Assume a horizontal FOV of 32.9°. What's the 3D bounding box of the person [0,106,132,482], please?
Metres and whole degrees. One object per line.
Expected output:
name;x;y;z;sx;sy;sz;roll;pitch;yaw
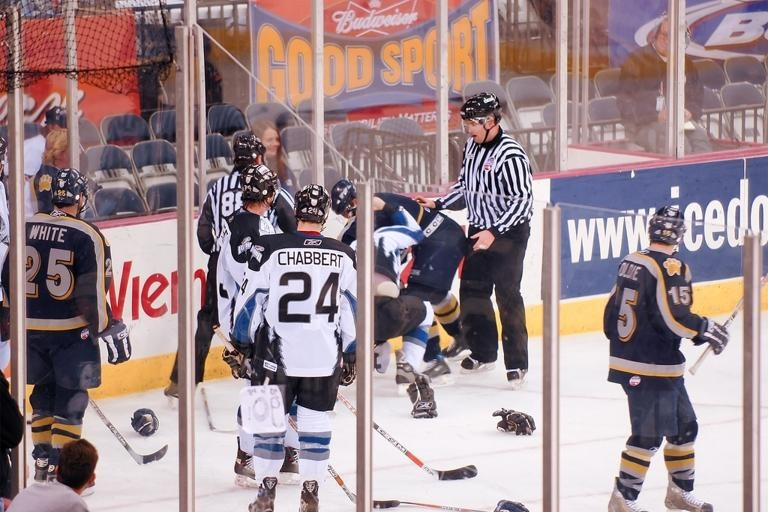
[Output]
person;-1.706;0.497;7.227;0.569;1.675;0.238;-3;1;-10

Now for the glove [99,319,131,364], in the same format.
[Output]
glove;-1.491;0.484;7.255;0.149;0.247;0.082;-7;10;-33

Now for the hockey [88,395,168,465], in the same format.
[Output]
hockey;-1.474;1.050;7.481;0.215;0.674;0.055;-32;-24;-34

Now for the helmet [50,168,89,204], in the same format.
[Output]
helmet;-1.732;-0.383;7.165;0.162;0.186;0.190;3;0;-9

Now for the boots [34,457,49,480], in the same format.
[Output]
boots;-1.913;1.194;7.270;0.051;0.154;0.061;3;4;-28

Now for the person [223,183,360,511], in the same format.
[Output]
person;-0.462;0.496;6.906;0.658;1.648;0.276;-3;1;-5

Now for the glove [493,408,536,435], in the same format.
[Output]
glove;0.667;0.849;6.641;0.157;0.079;0.119;12;33;27

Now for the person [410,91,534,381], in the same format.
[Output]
person;0.508;-0.088;6.835;0.444;1.487;0.632;-11;15;-39

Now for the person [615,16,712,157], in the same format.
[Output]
person;2.325;-1.331;10.489;0.620;1.019;0.619;-5;-12;6

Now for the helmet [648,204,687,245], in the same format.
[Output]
helmet;1.440;-0.160;6.623;0.213;0.227;0.161;8;-4;-17

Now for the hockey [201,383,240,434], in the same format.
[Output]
hockey;-0.982;0.911;7.639;0.067;0.260;0.253;-21;-16;27

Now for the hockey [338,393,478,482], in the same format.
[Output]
hockey;0.162;0.951;6.802;0.859;0.103;0.117;38;4;38
